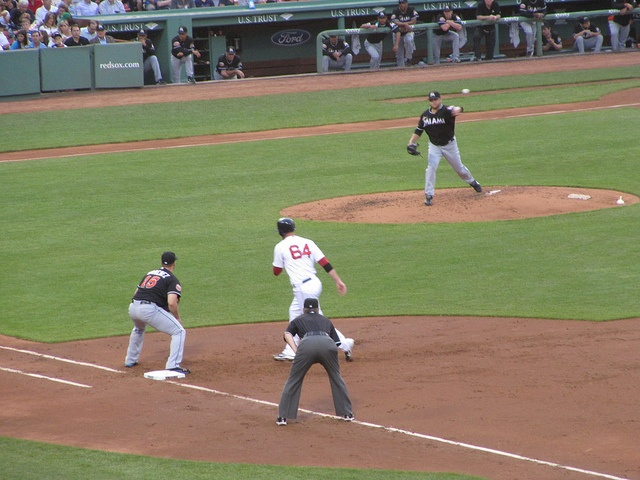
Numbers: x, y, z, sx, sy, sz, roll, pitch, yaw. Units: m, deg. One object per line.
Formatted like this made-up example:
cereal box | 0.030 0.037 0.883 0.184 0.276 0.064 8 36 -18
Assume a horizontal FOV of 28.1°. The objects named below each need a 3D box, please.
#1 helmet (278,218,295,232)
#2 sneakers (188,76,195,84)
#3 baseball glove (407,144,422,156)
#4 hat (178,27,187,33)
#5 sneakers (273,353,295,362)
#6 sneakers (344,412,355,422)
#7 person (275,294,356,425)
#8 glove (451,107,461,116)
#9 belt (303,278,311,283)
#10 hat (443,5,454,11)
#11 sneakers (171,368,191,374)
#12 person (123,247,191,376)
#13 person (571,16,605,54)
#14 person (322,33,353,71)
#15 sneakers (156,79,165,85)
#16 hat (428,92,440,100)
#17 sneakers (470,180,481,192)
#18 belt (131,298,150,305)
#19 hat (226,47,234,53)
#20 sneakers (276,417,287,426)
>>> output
helmet | -0.626 -0.243 23.275 0.298 0.268 0.215 -1 6 -2
sneakers | -4.334 -5.373 42.965 0.224 0.222 0.585 -5 11 -4
baseball glove | 2.146 -2.108 29.968 0.190 0.323 0.256 -40 -18 13
hat | -4.475 -6.806 41.461 0.285 0.187 0.380 13 13 4
sneakers | -0.676 2.178 23.527 0.415 0.147 0.135 2 0 5
sneakers | 0.499 3.026 21.740 0.238 0.093 0.088 11 12 43
person | -0.054 2.049 21.984 1.540 1.996 0.971 -2 -7 5
glove | 3.118 -2.906 29.031 0.205 0.181 0.655 0 5 8
belt | -0.230 0.738 23.172 0.155 0.075 0.022 -2 6 -14
hat | 4.479 -8.116 44.757 0.393 0.155 0.551 1 6 8
sneakers | -2.503 2.374 23.100 0.383 0.126 0.114 2 4 -5
person | -2.950 1.447 23.155 1.159 1.953 0.483 -1 6 6
person | 10.093 -7.716 48.240 0.858 1.273 0.802 -5 7 -29
person | 0.569 -6.521 44.955 0.820 1.237 1.360 1 6 23
sneakers | -5.328 -5.215 42.476 0.346 0.122 0.151 -3 0 43
hat | 2.606 -3.287 29.114 0.231 0.131 0.295 0 0 16
sneakers | 3.717 -1.261 30.362 0.142 0.388 0.146 -39 39 14
belt | -3.235 1.119 23.070 0.357 0.075 0.079 1 6 21
hat | -3.008 -6.362 43.095 0.268 0.169 0.322 1 18 -10
sneakers | -0.650 3.074 21.636 0.181 0.145 0.088 -1 6 -3
